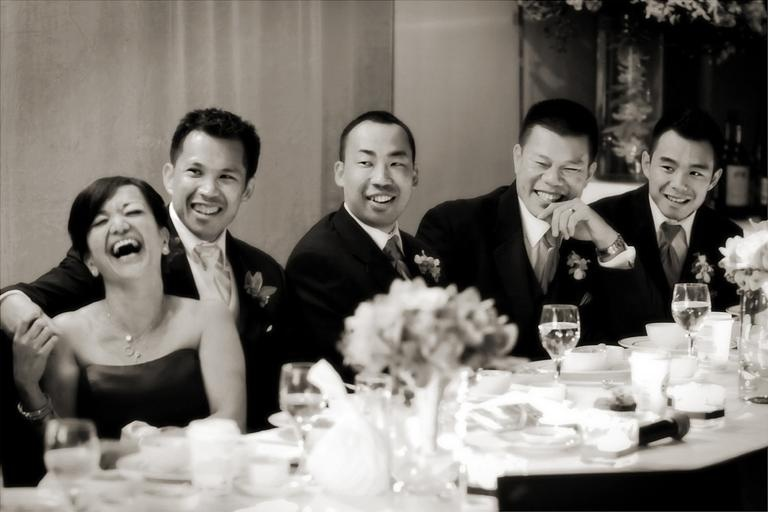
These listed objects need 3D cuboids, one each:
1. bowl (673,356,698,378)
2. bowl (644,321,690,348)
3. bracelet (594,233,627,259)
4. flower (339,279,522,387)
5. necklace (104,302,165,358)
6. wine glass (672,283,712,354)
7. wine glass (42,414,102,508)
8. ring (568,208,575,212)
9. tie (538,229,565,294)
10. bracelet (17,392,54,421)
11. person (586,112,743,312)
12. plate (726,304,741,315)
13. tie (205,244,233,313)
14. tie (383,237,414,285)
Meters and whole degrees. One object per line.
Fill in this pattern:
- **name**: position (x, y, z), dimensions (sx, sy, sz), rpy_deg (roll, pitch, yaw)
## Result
- **bowl**: position (1.204, 0.443, 3.320), dimensions (0.092, 0.056, 0.082), rpy_deg (-2, -4, 0)
- **bowl**: position (1.256, 0.347, 3.732), dimensions (0.144, 0.082, 0.139), rpy_deg (3, 3, 0)
- **bracelet**: position (1.209, -0.036, 4.380), dimensions (0.156, 0.104, 0.167), rpy_deg (-22, 4, 15)
- **flower**: position (0.120, 0.276, 2.678), dimensions (0.615, 0.361, 0.551), rpy_deg (-6, -7, 1)
- **necklace**: position (-1.119, 0.323, 3.675), dimensions (0.159, 0.248, 0.061), rpy_deg (-4, 1, -7)
- **wine glass**: position (1.320, 0.269, 3.558), dimensions (0.139, 0.270, 0.338), rpy_deg (-4, 0, 20)
- **wine glass**: position (-0.955, 0.628, 2.502), dimensions (0.187, 0.287, 0.120), rpy_deg (-3, 1, 37)
- **ring**: position (0.984, -0.244, 4.341), dimensions (0.022, 0.009, 0.031), rpy_deg (1, -7, 1)
- **tie**: position (0.869, -0.006, 4.384), dimensions (0.114, 0.380, 0.045), rpy_deg (-5, -41, 25)
- **bracelet**: position (-1.528, 0.647, 3.634), dimensions (0.118, 0.049, 0.117), rpy_deg (9, 9, 44)
- **person**: position (1.437, -0.269, 4.348), dimensions (1.032, 1.045, 0.623), rpy_deg (2, 6, 0)
- **plate**: position (1.865, 0.284, 4.432), dimensions (0.076, 0.017, 0.074), rpy_deg (-13, 12, -9)
- **tie**: position (-0.756, 0.103, 3.869), dimensions (0.070, 0.280, 0.152), rpy_deg (-28, 7, -30)
- **tie**: position (0.065, 0.011, 4.120), dimensions (0.049, 0.203, 0.134), rpy_deg (-3, 19, 47)
